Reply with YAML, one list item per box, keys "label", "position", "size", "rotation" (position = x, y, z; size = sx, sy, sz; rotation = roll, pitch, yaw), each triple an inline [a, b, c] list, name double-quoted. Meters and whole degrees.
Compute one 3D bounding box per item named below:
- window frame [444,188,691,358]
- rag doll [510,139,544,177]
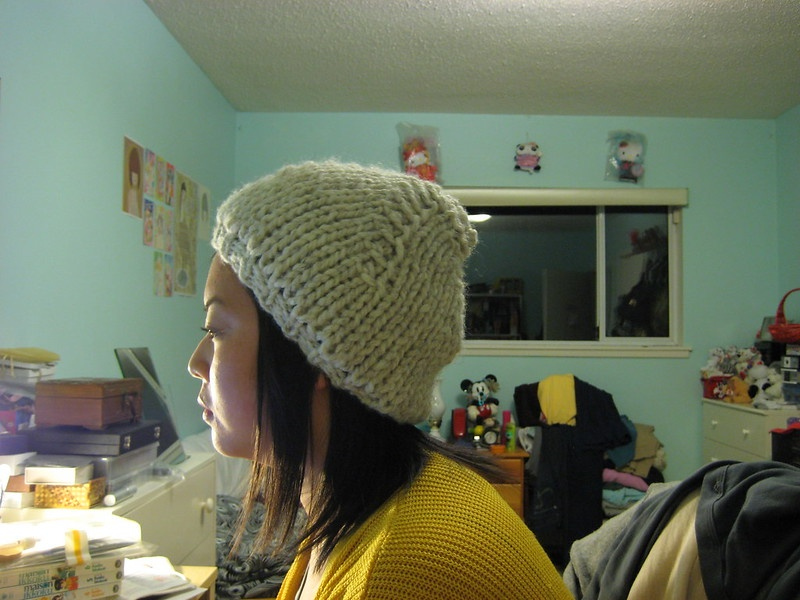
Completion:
- label: "window frame"
  position: [1.219, -0.170, 4.520]
  size: [1.197, 0.850, 0.131]
  rotation: [0, -8, 2]
- label: "rag doll"
  position: [0.886, -0.977, 4.674]
  size: [0.178, 0.209, 0.085]
  rotation: [1, 3, 5]
